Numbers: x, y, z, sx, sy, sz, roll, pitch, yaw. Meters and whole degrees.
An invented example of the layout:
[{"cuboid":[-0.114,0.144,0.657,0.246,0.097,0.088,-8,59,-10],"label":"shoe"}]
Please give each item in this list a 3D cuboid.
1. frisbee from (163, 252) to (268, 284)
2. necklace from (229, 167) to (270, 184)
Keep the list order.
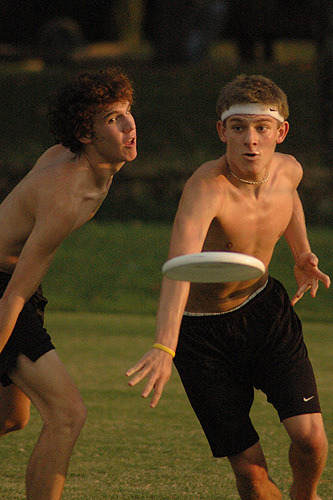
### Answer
[{"cuboid":[0.157,0.050,2.404,0.349,0.058,0.351,3,5,38],"label":"frisbee"},{"cuboid":[0.325,-0.285,2.834,0.165,0.052,0.045,-2,13,-22],"label":"necklace"}]
